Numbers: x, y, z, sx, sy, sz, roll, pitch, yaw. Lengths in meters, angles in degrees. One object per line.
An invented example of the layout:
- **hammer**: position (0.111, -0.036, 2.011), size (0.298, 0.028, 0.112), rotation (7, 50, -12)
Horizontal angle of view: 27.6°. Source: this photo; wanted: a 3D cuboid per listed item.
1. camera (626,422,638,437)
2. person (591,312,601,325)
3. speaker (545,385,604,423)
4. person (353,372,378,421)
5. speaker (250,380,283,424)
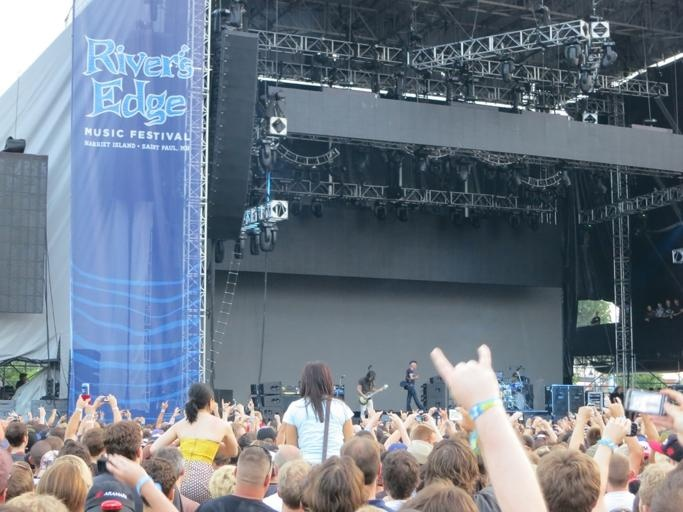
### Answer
- **camera**: position (4.907, 2.922, 23.423), size (0.163, 0.205, 0.218), rotation (-7, 2, 9)
- **person**: position (7.693, 1.867, 41.941), size (0.250, 0.432, 1.123), rotation (-2, -8, 10)
- **speaker**: position (5.318, 3.395, 31.937), size (1.232, 0.866, 0.708), rotation (-2, 2, -20)
- **person**: position (0.627, 3.590, 35.200), size (0.507, 1.462, 0.376), rotation (3, 13, 10)
- **speaker**: position (-1.946, 3.627, 34.533), size (0.816, 1.199, 0.937), rotation (6, -12, -33)
